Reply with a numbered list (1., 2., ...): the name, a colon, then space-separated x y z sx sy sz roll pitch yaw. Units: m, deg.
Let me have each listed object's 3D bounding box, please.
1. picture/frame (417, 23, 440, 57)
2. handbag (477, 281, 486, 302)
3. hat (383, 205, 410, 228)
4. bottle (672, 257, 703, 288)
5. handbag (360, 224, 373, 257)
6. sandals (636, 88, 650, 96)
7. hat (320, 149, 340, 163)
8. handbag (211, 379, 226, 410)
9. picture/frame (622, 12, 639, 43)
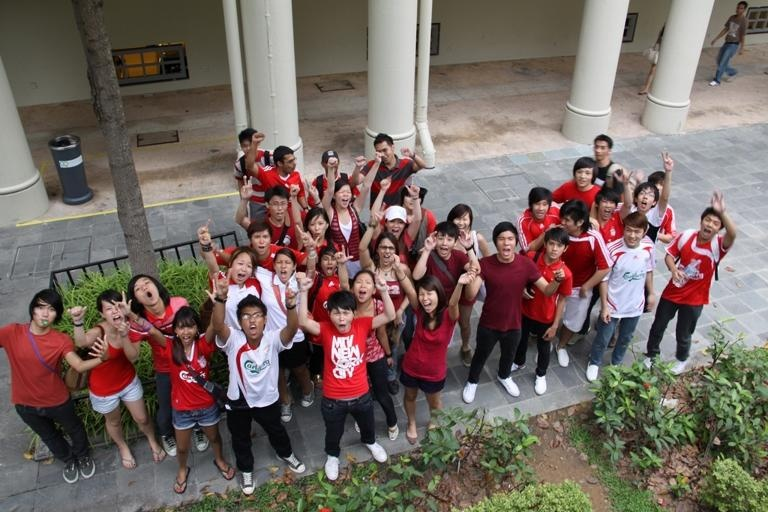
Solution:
1. picture/frame: 1.788 -7.752 16.466 0.439 1.090 0.191 -20 29 -29
2. handbag: 1.227 0.449 5.858 0.102 0.405 0.292 1 26 11
3. hat: 0.166 -0.529 6.213 0.279 0.166 0.384 3 15 -6
4. bottle: 3.993 0.217 6.080 0.335 0.403 0.256 18 33 38
5. handbag: -0.239 -0.215 6.182 0.106 0.362 0.268 16 5 12
6. sandals: 8.307 -5.223 14.689 0.543 0.216 0.187 0 40 2
7. hat: -0.800 -1.455 6.828 0.189 0.188 0.422 -10 26 -13
8. handbag: -1.793 1.525 5.102 0.111 0.313 0.218 -15 21 -28
9. picture/frame: 9.500 -8.871 17.912 0.673 1.035 0.278 -17 28 -24
